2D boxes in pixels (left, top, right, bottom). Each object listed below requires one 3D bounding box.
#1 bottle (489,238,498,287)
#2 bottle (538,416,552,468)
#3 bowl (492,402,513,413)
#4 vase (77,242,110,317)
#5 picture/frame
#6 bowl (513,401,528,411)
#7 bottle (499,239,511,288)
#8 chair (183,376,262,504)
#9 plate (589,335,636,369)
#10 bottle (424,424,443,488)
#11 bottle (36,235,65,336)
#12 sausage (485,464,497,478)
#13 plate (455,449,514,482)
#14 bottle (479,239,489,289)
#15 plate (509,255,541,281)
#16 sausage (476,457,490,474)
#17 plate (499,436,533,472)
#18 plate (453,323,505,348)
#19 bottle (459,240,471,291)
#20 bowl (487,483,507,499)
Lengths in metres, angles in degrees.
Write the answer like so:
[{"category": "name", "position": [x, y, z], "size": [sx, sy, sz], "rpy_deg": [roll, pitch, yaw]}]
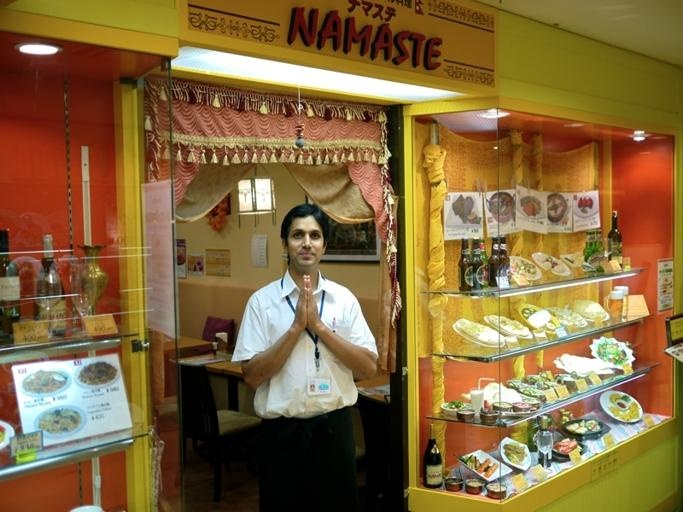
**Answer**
[{"category": "bottle", "position": [0.876, 0.035, 3.127], "size": [0.056, 0.282, 0.070], "rpy_deg": [-3, 0, 27]}, {"category": "bottle", "position": [1.273, 1.151, 3.382], "size": [0.064, 0.323, 0.200], "rpy_deg": [-3, 0, 35]}, {"category": "bowl", "position": [0.923, 0.868, 3.112], "size": [0.127, 0.058, 0.040], "rpy_deg": [-4, 1, -25]}, {"category": "vase", "position": [-0.915, 0.088, 2.006], "size": [0.090, 0.256, 0.036], "rpy_deg": [-3, 0, -27]}, {"category": "picture/frame", "position": [0.043, -0.186, 3.883], "size": [0.606, 0.675, 0.027], "rpy_deg": [3, 2, 38]}, {"category": "bowl", "position": [1.047, 0.883, 3.173], "size": [0.125, 0.050, 0.025], "rpy_deg": [-4, 1, -37]}, {"category": "bottle", "position": [0.951, 0.040, 3.163], "size": [0.041, 0.288, 0.195], "rpy_deg": [-3, 0, 30]}, {"category": "chair", "position": [-1.214, 1.585, 5.449], "size": [0.773, 0.863, 0.692], "rpy_deg": [-9, -10, 2]}, {"category": "plate", "position": [2.040, 0.723, 4.100], "size": [0.298, 0.308, 0.074], "rpy_deg": [16, -29, -19]}, {"category": "bottle", "position": [0.542, 1.194, 3.235], "size": [0.122, 0.374, 0.055], "rpy_deg": [-3, 0, 8]}, {"category": "bottle", "position": [-1.029, 0.134, 1.925], "size": [0.078, 0.353, 0.060], "rpy_deg": [-3, 0, 5]}, {"category": "sausage", "position": [0.847, 1.219, 3.077], "size": [0.043, 0.080, 0.023], "rpy_deg": [35, 16, 29]}, {"category": "plate", "position": [0.803, 1.172, 3.105], "size": [0.156, 0.042, 0.226], "rpy_deg": [-12, 21, -29]}, {"category": "bottle", "position": [0.823, 0.046, 3.140], "size": [0.056, 0.270, 0.023], "rpy_deg": [-3, 0, 16]}, {"category": "plate", "position": [1.148, 0.076, 3.375], "size": [0.062, 0.154, 0.378], "rpy_deg": [-3, 1, 38]}, {"category": "sausage", "position": [0.812, 1.203, 3.106], "size": [0.044, 0.079, 0.025], "rpy_deg": [37, 22, 21]}, {"category": "plate", "position": [1.002, 1.160, 3.161], "size": [0.072, 0.198, 0.163], "rpy_deg": [-39, -19, 32]}, {"category": "plate", "position": [0.791, 0.453, 3.136], "size": [0.151, 0.044, 0.160], "rpy_deg": [17, 16, -16]}, {"category": "bottle", "position": [0.731, 0.052, 3.199], "size": [0.087, 0.300, 0.033], "rpy_deg": [-3, 0, 43]}, {"category": "bowl", "position": [0.874, 1.324, 3.062], "size": [0.109, 0.094, 0.056], "rpy_deg": [-3, 0, 16]}]
